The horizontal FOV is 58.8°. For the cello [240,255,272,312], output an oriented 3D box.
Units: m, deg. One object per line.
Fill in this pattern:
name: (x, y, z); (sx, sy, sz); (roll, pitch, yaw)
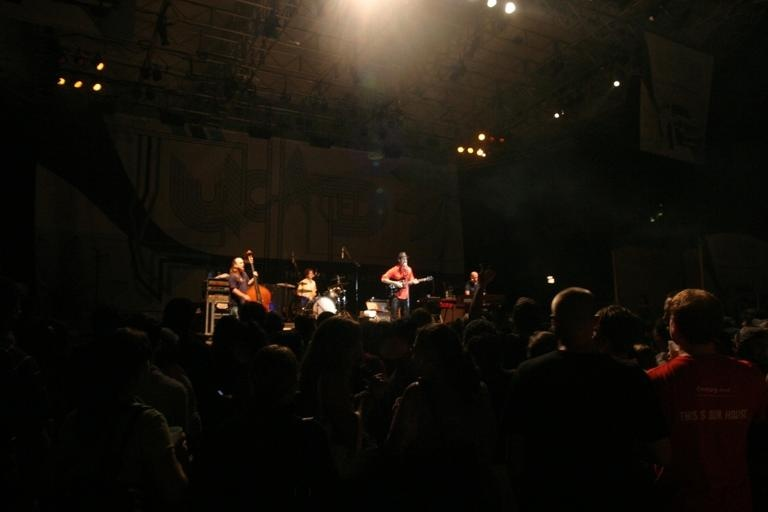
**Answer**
cello: (-2.761, 0.554, 14.572); (0.445, 1.165, 0.347); (-6, -3, -28)

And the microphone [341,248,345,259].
microphone: (-1.060, -0.100, 18.082); (0.127, 0.262, 0.025); (2, -11, -17)

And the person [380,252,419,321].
person: (0.363, 0.892, 16.436); (0.861, 1.928, 0.576); (1, 12, -8)
